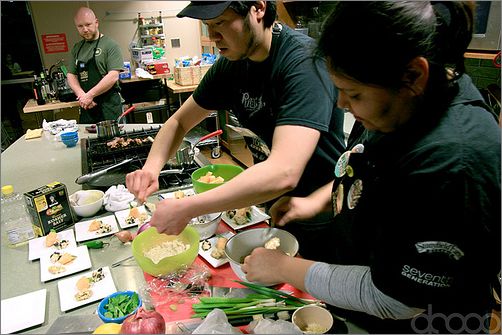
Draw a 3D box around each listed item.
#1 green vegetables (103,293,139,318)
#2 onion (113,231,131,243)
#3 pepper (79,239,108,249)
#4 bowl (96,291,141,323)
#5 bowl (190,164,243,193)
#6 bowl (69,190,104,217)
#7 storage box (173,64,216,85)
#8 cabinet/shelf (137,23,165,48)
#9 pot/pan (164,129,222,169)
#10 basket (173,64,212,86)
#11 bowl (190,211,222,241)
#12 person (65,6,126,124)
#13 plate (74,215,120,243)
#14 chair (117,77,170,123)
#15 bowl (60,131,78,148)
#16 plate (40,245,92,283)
[{"bbox_3d":[-0.506,0.528,1.348,0.114,0.064,0.110,-3,12,-25],"label":"green vegetables"},{"bbox_3d":[-0.643,0.339,1.727,0.082,0.042,0.046,-4,-8,34],"label":"onion"},{"bbox_3d":[-0.773,0.374,1.736,0.153,0.042,0.043,7,12,-1],"label":"pepper"},{"bbox_3d":[-0.524,0.516,1.386,0.146,0.089,0.139,3,12,-1],"label":"bowl"},{"bbox_3d":[-0.212,0.034,2.022,0.294,0.165,0.268,0,16,0],"label":"bowl"},{"bbox_3d":[-0.944,0.199,2.009,0.183,0.113,0.170,-3,24,1],"label":"bowl"},{"bbox_3d":[-0.902,-1.427,5.261,0.530,0.207,0.367,-19,28,-36],"label":"storage box"},{"bbox_3d":[-1.660,-2.215,6.008,0.523,0.459,0.174,10,23,27],"label":"cabinet/shelf"},{"bbox_3d":[-0.406,-0.125,2.403,0.428,0.156,0.221,-13,23,-7],"label":"pot/pan"},{"bbox_3d":[-0.857,-1.403,5.239,0.498,0.196,0.342,-15,24,-17],"label":"basket"},{"bbox_3d":[-0.215,0.280,1.716,0.165,0.093,0.161,-4,17,1],"label":"bowl"},{"bbox_3d":[-1.989,-1.168,4.487,0.678,1.568,0.604,-5,24,-16],"label":"person"},{"bbox_3d":[-0.816,0.323,1.825,0.157,0.030,0.144,-18,32,-25],"label":"plate"},{"bbox_3d":[-1.655,-0.871,5.574,0.706,1.231,0.912,-6,10,-15],"label":"chair"},{"bbox_3d":[-1.533,-0.240,2.922,0.132,0.095,0.131,2,14,0],"label":"bowl"},{"bbox_3d":[-0.864,0.447,1.612,0.230,0.111,0.168,-8,21,-27],"label":"plate"}]
